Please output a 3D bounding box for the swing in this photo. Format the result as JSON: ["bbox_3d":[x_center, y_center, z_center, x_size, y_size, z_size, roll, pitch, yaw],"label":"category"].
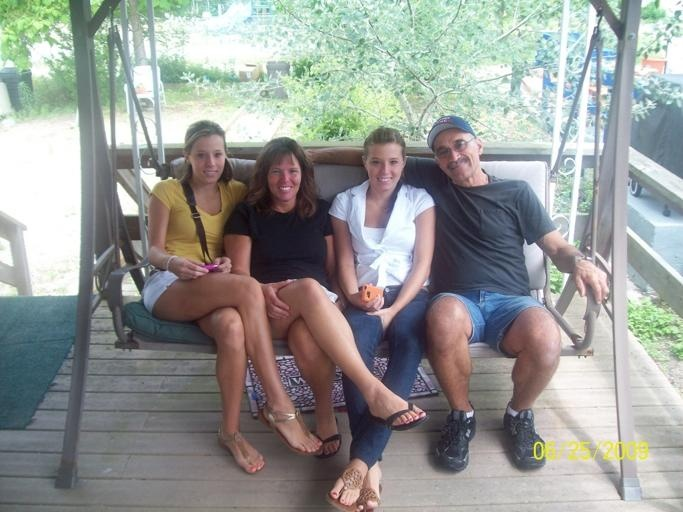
[{"bbox_3d":[0.240,-0.606,3.710,3.079,2.202,1.006,1,21,1],"label":"swing"}]

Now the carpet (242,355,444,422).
[{"bbox_3d":[0.007,0.679,2.756,1.106,0.112,0.628,2,14,1],"label":"carpet"}]

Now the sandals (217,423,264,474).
[{"bbox_3d":[-0.503,0.943,2.781,0.121,0.133,0.311,-29,41,-36],"label":"sandals"}]

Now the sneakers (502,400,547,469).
[{"bbox_3d":[0.910,0.915,2.786,0.126,0.156,0.342,-3,19,1],"label":"sneakers"}]

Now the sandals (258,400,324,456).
[{"bbox_3d":[-0.259,0.838,2.657,0.361,0.145,0.152,34,19,4],"label":"sandals"}]

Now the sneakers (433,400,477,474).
[{"bbox_3d":[0.568,0.914,2.731,0.189,0.251,0.217,5,21,11],"label":"sneakers"}]

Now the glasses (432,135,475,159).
[{"bbox_3d":[0.606,-0.582,2.971,0.119,0.061,0.154,-28,-5,42],"label":"glasses"}]
